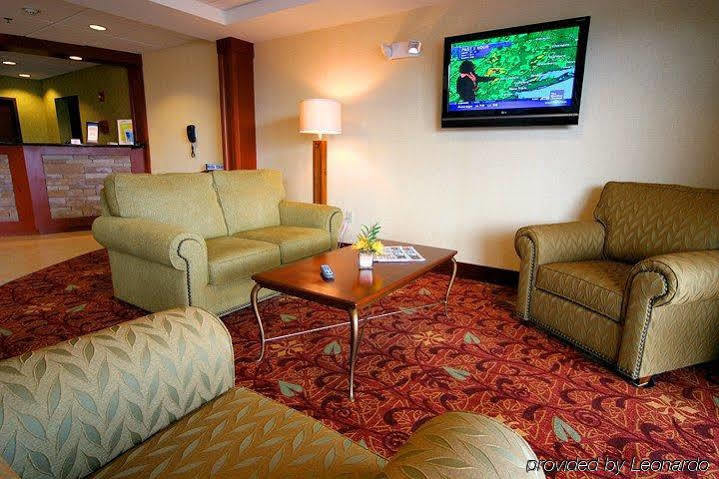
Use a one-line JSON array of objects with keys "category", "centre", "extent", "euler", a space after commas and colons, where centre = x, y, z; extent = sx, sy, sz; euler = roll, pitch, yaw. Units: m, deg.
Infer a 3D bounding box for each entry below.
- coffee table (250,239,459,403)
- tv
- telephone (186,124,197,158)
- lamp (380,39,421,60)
[{"category": "coffee table", "centre": [-0.044, 0.266, 3.196], "extent": [1.037, 0.729, 1.693], "euler": [11, 19, 36]}, {"category": "tv", "centre": [1.450, -1.525, 4.096], "extent": [1.240, 0.802, 0.088], "euler": [4, 12, 20]}, {"category": "telephone", "centre": [-2.347, -1.365, 6.314], "extent": [0.186, 0.441, 0.098], "euler": [8, 19, 29]}, {"category": "lamp", "centre": [0.414, -1.946, 4.654], "extent": [0.415, 0.176, 0.113], "euler": [8, 18, 31]}]
